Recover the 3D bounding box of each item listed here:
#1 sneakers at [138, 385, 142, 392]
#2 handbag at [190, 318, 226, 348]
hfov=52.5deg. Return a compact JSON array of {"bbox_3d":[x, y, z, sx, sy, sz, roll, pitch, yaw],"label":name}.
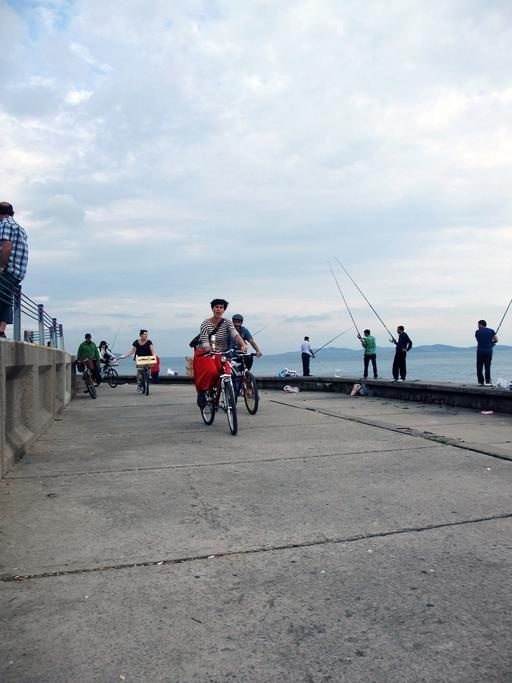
[{"bbox_3d":[-3.679,1.510,16.560,0.142,0.175,0.278,2,-4,-8],"label":"sneakers"},{"bbox_3d":[-0.756,-0.095,7.657,0.554,0.430,0.280,-2,2,-43],"label":"handbag"}]
